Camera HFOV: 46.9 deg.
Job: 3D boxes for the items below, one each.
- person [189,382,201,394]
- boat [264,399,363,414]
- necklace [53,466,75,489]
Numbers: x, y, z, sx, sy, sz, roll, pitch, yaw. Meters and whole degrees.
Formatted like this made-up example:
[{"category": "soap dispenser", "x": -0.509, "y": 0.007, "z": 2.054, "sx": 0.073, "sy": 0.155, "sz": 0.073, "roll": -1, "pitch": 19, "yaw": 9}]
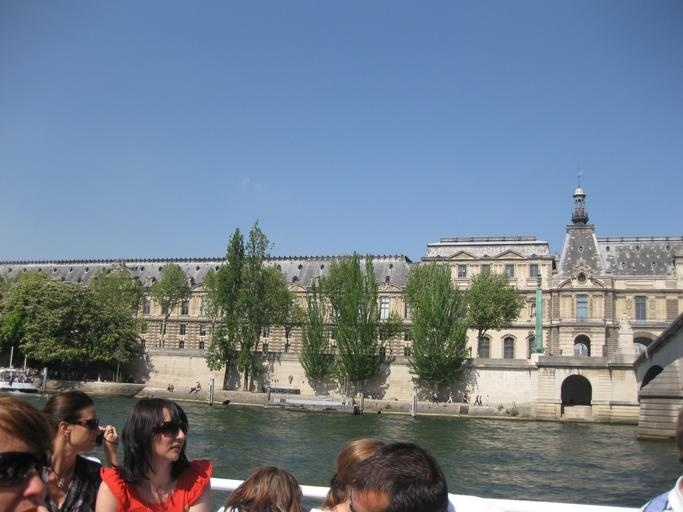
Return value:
[{"category": "person", "x": -10.712, "y": 9.774, "z": 57.620, "sx": 0.791, "sy": 0.679, "sz": 1.388, "roll": 2, "pitch": -31, "yaw": -22}, {"category": "boat", "x": -2.130, "y": 9.708, "z": 51.331, "sx": 3.577, "sy": 0.610, "sz": 2.133, "roll": 2, "pitch": -13, "yaw": 11}, {"category": "necklace", "x": -3.834, "y": 3.044, "z": 10.734, "sx": 0.235, "sy": 0.092, "sz": 0.240, "roll": 22, "pitch": 25, "yaw": -22}]
